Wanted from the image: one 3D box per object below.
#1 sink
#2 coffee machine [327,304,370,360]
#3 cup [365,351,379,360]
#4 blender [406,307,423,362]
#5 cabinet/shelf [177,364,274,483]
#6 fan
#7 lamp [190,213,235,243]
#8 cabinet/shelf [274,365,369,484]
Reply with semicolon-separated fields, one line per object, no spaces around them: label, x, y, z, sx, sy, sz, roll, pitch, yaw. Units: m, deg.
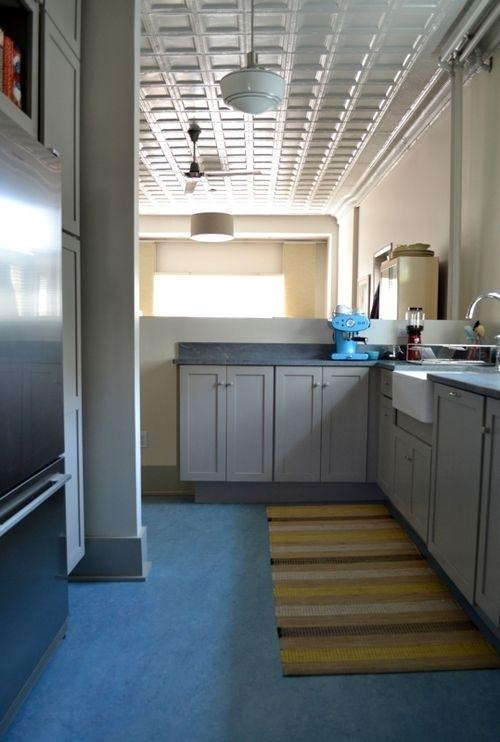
sink;0.739;0.073;2.059;0.213;0.161;0.235;0;3;-4
coffee machine;0.554;-0.231;2.976;0.230;0.409;0.296;0;1;0
cup;0.719;-0.086;2.940;0.050;0.047;0.054;0;-1;0
blender;0.960;-0.221;2.958;0.091;0.311;0.275;0;1;18
cabinet/shelf;-0.150;0.224;3.018;0.578;0.838;0.417;2;29;-2
fan;-0.539;-1.991;4.532;0.694;0.478;0.667;18;30;32
lamp;-0.463;-1.688;5.872;0.461;0.251;0.306;-1;2;-14
cabinet/shelf;0.395;0.233;2.931;0.517;0.779;0.381;-1;26;2
